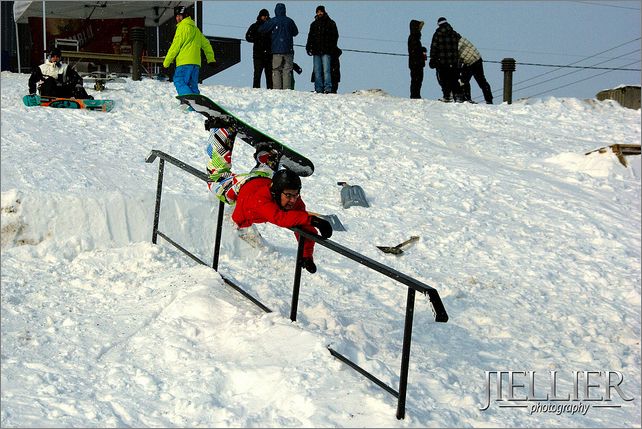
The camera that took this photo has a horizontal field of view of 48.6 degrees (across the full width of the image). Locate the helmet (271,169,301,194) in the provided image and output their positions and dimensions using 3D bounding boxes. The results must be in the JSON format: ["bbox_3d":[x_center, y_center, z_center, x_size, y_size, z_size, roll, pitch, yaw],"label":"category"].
[{"bbox_3d":[-0.502,-0.459,9.925,0.392,0.320,0.284,-5,10,-12],"label":"helmet"}]

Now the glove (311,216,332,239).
[{"bbox_3d":[0.004,0.192,9.384,0.275,0.248,0.598,3,14,-2],"label":"glove"}]

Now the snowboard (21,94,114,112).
[{"bbox_3d":[-5.218,-2.329,14.676,1.917,0.517,0.260,-4,-6,-17],"label":"snowboard"}]

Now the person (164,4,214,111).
[{"bbox_3d":[-2.773,-3.276,15.051,1.031,2.163,1.304,1,15,-9],"label":"person"}]

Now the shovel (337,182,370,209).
[{"bbox_3d":[0.606,-0.431,13.800,0.500,0.198,0.748,-4,50,-12],"label":"shovel"}]

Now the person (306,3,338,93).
[{"bbox_3d":[0.070,-4.244,18.356,0.778,2.158,0.690,5,15,4],"label":"person"}]

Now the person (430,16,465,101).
[{"bbox_3d":[3.326,-4.047,18.726,0.643,2.138,0.868,12,16,28],"label":"person"}]

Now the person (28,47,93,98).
[{"bbox_3d":[-5.574,-3.014,15.127,1.168,0.992,0.876,-2,15,-21],"label":"person"}]

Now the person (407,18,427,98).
[{"bbox_3d":[2.464,-3.985,18.455,0.477,2.016,1.494,5,14,6],"label":"person"}]

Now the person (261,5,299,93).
[{"bbox_3d":[-1.043,-4.203,17.884,0.821,2.072,0.771,4,14,0],"label":"person"}]
